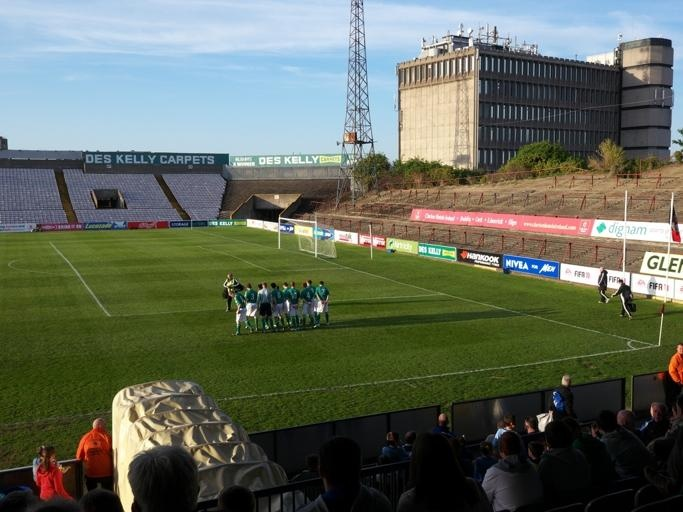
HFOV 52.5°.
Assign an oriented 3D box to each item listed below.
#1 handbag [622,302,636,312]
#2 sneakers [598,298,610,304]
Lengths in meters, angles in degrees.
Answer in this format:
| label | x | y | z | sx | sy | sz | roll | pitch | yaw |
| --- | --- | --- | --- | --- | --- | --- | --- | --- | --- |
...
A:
| label | x | y | z | sx | sy | sz | roll | pitch | yaw |
| --- | --- | --- | --- | --- | --- | --- | --- | --- | --- |
| handbag | 12.062 | 2.180 | 29.201 | 0.573 | 0.201 | 0.412 | 6 | 4 | 40 |
| sneakers | 12.316 | 2.121 | 32.482 | 0.226 | 0.201 | 0.492 | -4 | 0 | 8 |
